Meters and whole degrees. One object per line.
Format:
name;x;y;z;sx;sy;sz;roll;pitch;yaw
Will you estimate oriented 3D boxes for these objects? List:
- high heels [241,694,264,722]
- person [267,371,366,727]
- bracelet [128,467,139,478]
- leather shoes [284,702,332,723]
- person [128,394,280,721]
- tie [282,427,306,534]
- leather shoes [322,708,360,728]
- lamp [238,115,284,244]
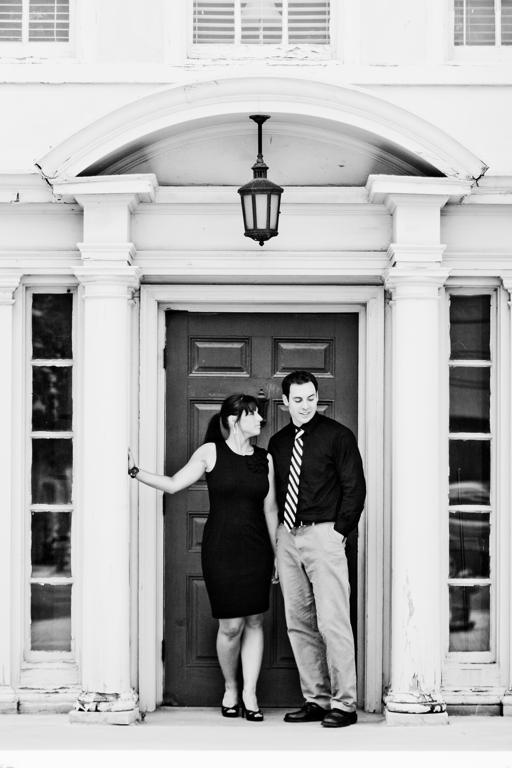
high heels;-0.040;1.758;9.210;0.052;0.079;0.176;6;-22;-14
person;0.330;0.870;9.007;0.431;1.817;0.619;3;-8;-29
bracelet;-0.643;0.475;9.031;0.037;0.064;0.021;-2;-13;27
leather shoes;0.262;1.747;9.192;0.239;0.128;0.099;4;-5;-8
person;-0.184;0.933;9.190;0.575;1.704;0.489;0;-7;0
tie;0.185;0.521;8.955;0.059;0.695;0.031;1;-15;17
leather shoes;0.422;1.739;8.987;0.188;0.103;0.077;15;-21;-37
lamp;0.012;-1.060;9.082;0.225;0.672;0.396;0;-7;1
